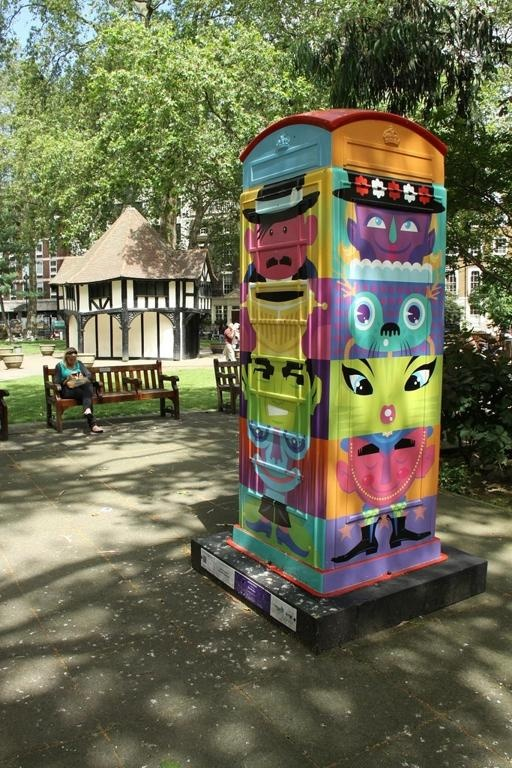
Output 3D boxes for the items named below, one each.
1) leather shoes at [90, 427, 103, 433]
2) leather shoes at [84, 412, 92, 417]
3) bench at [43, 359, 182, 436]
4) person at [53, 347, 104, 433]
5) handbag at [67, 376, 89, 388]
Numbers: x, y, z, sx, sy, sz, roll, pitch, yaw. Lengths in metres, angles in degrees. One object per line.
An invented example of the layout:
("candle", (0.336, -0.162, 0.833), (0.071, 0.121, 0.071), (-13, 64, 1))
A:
("leather shoes", (-2.314, 0.654, 9.299), (0.077, 0.083, 0.206), (-4, 3, -32))
("leather shoes", (-2.478, 0.436, 9.371), (0.073, 0.130, 0.073), (1, 6, 14))
("bench", (-2.273, 0.196, 10.167), (2.018, 0.882, 0.569), (-5, 12, -35))
("person", (-2.651, 0.064, 9.515), (0.663, 1.217, 0.862), (-2, 6, -18))
("handbag", (-2.639, -0.026, 9.462), (0.311, 0.160, 0.106), (-2, 6, -18))
